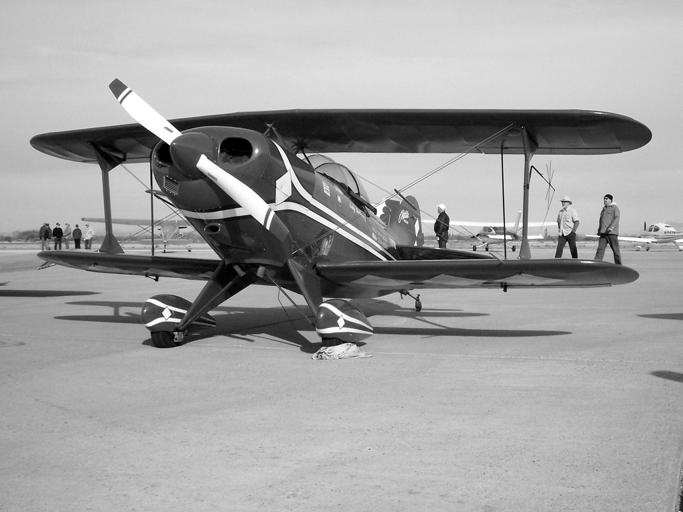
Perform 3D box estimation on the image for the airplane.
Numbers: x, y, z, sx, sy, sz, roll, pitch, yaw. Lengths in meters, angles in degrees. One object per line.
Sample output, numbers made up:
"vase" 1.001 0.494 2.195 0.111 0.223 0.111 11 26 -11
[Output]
"airplane" -0.096 -0.451 8.239 7.408 3.049 3.749 0 1 -5
